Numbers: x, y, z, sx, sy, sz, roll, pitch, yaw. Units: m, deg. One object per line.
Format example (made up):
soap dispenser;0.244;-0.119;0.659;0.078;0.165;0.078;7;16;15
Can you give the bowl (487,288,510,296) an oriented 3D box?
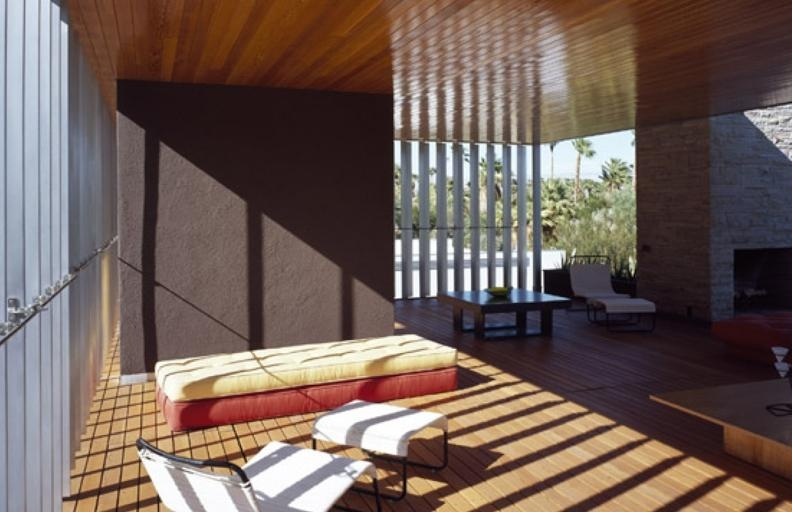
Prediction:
bowl;1.708;0.579;9.291;0.361;0.154;0.437;-2;4;8

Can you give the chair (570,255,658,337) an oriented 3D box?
chair;3.876;0.668;10.176;1.000;0.892;1.635;-1;6;-10
